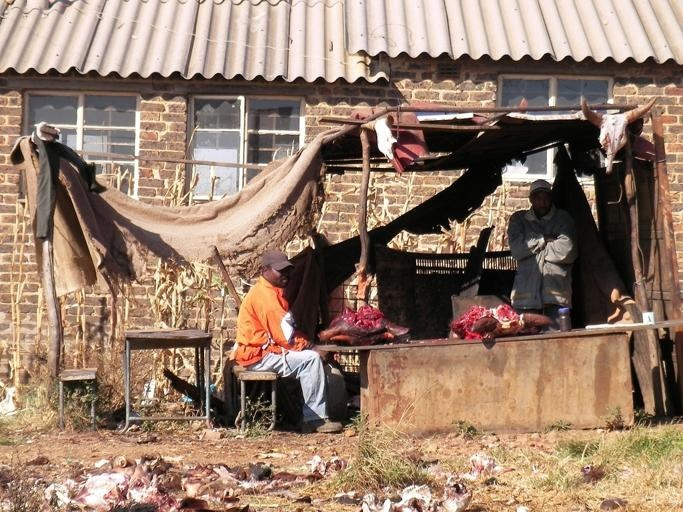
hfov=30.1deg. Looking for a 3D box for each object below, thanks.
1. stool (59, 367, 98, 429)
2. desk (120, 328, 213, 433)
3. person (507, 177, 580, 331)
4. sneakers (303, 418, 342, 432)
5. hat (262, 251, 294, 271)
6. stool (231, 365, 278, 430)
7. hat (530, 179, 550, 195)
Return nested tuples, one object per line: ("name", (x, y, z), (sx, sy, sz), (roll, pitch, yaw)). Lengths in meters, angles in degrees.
("stool", (-3.108, 1.656, 14.820), (0.433, 0.683, 0.489), (0, -3, -13))
("desk", (-2.076, 1.437, 15.179), (1.169, 1.185, 1.114), (0, -10, -6))
("person", (2.440, -0.056, 15.499), (0.828, 1.756, 0.411), (-1, -3, 13))
("sneakers", (-0.258, 1.994, 15.002), (0.459, 0.223, 0.186), (-11, -14, 34))
("hat", (-0.785, 0.052, 14.906), (0.283, 0.170, 0.226), (-2, 1, 19))
("stool", (-1.025, 1.675, 15.000), (0.538, 0.728, 0.749), (0, -3, -4))
("hat", (2.394, -0.830, 15.596), (0.229, 0.181, 0.387), (0, -10, 4))
